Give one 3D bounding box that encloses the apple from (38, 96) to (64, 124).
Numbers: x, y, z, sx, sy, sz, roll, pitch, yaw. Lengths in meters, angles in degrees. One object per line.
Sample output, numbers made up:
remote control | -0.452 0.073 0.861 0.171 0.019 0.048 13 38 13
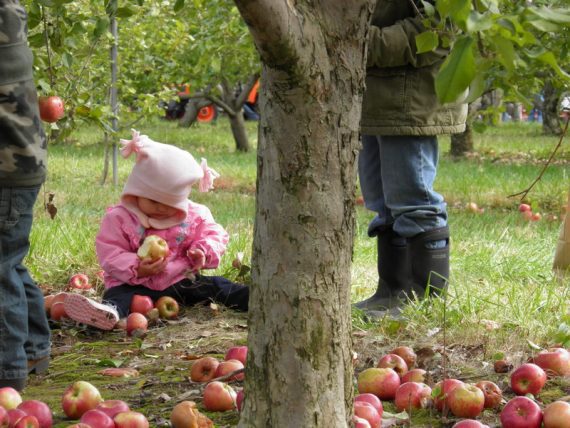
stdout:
apple | -1.283 -0.574 3.701 0.146 0.153 0.150 -10 20 -33
